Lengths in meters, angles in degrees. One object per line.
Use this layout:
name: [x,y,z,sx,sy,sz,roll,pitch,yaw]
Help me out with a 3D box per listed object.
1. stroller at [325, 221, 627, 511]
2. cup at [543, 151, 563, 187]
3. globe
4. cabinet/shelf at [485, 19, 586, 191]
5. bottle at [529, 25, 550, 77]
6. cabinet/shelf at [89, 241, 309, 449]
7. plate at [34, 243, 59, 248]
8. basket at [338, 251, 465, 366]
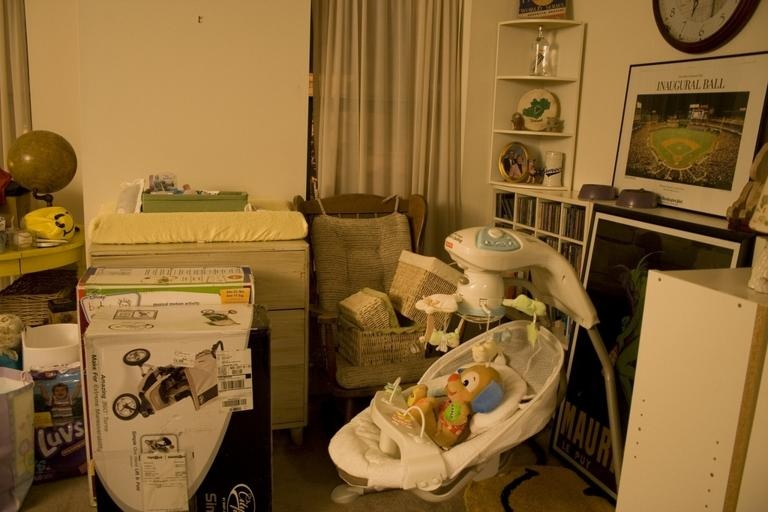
stroller: [0.427,0.508,2.510,1.531,1.277,0.890,-10,16,-23]
cup: [1.198,-0.610,3.757,0.127,0.240,0.129,-1,17,0]
globe: [-2.066,-0.499,3.471,0.481,0.668,0.464,4,18,-23]
cabinet/shelf: [1.100,-1.052,3.825,0.622,1.163,0.382,17,17,40]
bottle: [1.116,-1.457,3.777,0.124,0.341,0.305,4,18,16]
cabinet/shelf: [-0.902,0.377,2.483,1.119,1.056,0.383,-1,7,-6]
plate: [-2.118,-0.066,3.334,0.124,0.026,0.079,-5,17,-14]
basket: [0.087,0.321,3.406,0.774,0.735,0.566,14,2,-41]
